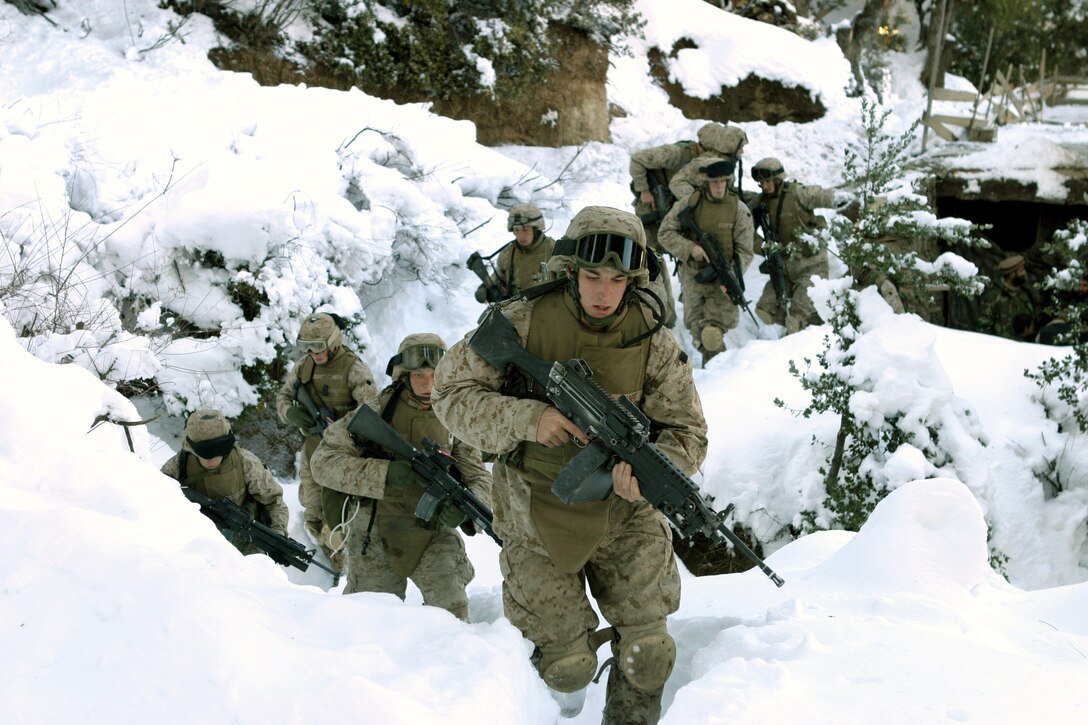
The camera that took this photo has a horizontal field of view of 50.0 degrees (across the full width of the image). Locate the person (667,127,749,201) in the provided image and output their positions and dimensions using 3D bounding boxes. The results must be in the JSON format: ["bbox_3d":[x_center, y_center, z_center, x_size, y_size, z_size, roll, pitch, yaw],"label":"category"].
[{"bbox_3d":[2.108,-2.881,15.923,1.233,0.573,0.999,-13,3,-1],"label":"person"}]

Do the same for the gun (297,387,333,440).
[{"bbox_3d":[-2.553,0.552,13.007,0.276,0.118,0.682,-48,48,13],"label":"gun"}]

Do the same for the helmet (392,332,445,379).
[{"bbox_3d":[-1.201,-0.025,11.113,0.339,0.464,0.365,6,65,-16],"label":"helmet"}]

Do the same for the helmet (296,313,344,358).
[{"bbox_3d":[-2.543,-0.326,13.304,0.374,0.465,0.544,-14,24,15],"label":"helmet"}]

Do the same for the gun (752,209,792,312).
[{"bbox_3d":[3.299,-1.475,16.704,0.201,1.376,0.469,-15,2,-8],"label":"gun"}]

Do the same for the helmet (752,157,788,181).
[{"bbox_3d":[3.172,-2.706,16.401,0.330,0.223,0.356,1,9,-7],"label":"helmet"}]

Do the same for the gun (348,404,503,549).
[{"bbox_3d":[-1.132,1.070,10.756,1.788,0.255,0.653,40,90,16],"label":"gun"}]

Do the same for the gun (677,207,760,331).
[{"bbox_3d":[2.368,-1.296,15.873,1.917,0.731,0.263,51,33,14],"label":"gun"}]
